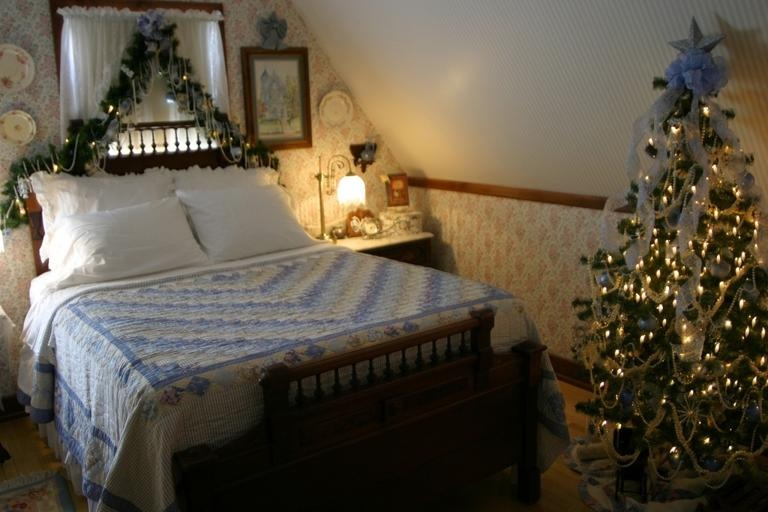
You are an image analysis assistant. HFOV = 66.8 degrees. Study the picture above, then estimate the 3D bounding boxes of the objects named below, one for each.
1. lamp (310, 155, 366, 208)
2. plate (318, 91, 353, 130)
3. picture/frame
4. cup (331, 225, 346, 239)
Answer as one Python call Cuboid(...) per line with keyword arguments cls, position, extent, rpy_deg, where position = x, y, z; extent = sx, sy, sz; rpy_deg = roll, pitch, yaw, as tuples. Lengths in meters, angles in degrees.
Cuboid(cls="lamp", position=(-0.401, -0.690, 5.293), extent=(0.423, 0.491, 0.253), rpy_deg=(-5, -6, 16))
Cuboid(cls="plate", position=(-0.430, -1.296, 5.220), extent=(0.294, 0.315, 0.062), rpy_deg=(-6, 9, -28))
Cuboid(cls="picture/frame", position=(-0.938, -1.371, 4.940), extent=(0.790, 1.160, 0.082), rpy_deg=(-8, 12, -34))
Cuboid(cls="cup", position=(-0.419, -0.205, 5.248), extent=(0.094, 0.086, 0.110), rpy_deg=(2, 5, 11))
